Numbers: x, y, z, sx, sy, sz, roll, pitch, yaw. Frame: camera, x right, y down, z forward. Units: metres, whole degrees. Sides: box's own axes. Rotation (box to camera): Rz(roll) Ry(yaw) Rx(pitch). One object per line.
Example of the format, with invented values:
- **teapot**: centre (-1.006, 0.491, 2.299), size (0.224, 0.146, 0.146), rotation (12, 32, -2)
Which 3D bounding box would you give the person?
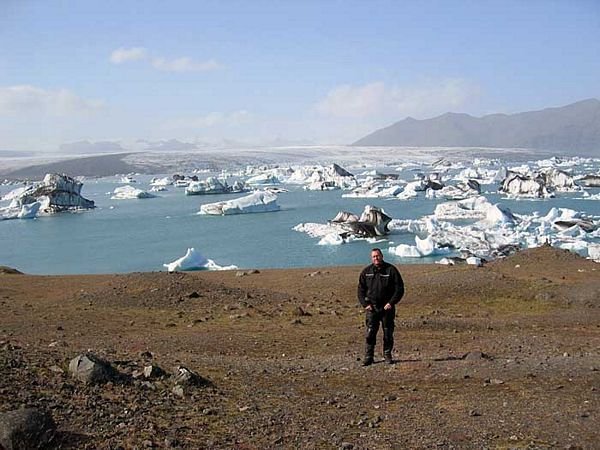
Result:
- **person**: centre (1.587, 1.597, 9.809), size (0.958, 2.348, 0.893), rotation (-7, 4, 4)
